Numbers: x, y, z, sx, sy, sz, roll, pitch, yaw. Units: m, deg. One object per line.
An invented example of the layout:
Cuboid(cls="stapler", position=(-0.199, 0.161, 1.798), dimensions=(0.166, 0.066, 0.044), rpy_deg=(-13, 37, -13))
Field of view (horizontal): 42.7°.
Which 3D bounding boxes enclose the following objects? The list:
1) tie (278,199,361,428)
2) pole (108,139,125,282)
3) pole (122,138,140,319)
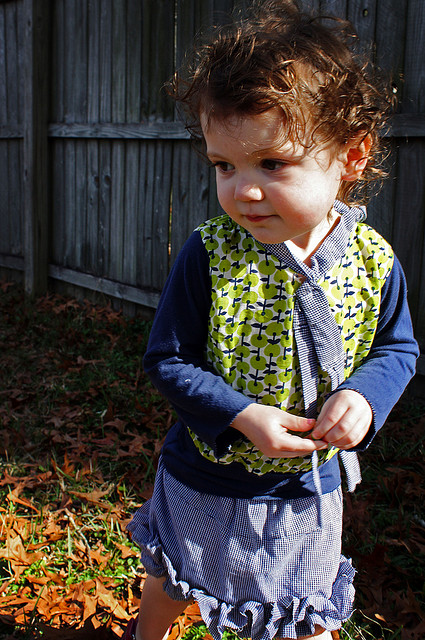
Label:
Cuboid(cls="tie", position=(0.201, 0.005, 1.043), dimensions=(0.174, 0.454, 0.059), rpy_deg=(-15, 27, -5))
Cuboid(cls="pole", position=(-0.788, -0.871, 4.490), dimensions=(0.125, 1.185, 0.120), rpy_deg=(-8, 30, -25))
Cuboid(cls="pole", position=(-0.665, -0.797, 4.359), dimensions=(0.112, 1.235, 0.114), rpy_deg=(9, 18, 12))
